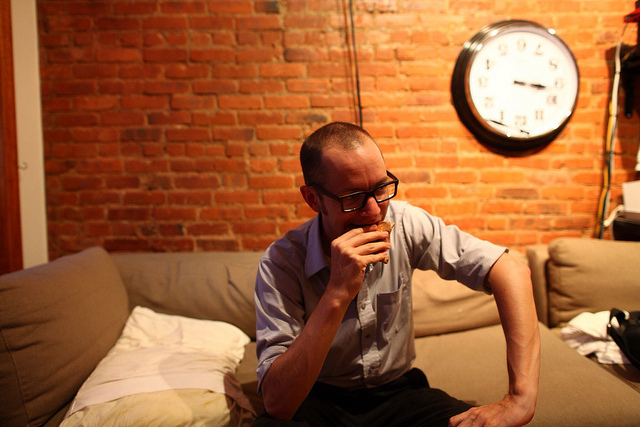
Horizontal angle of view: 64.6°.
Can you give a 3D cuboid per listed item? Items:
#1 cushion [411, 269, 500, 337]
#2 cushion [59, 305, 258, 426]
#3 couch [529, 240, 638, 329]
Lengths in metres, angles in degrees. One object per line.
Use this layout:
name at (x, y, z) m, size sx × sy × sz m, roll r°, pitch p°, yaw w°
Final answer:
cushion at (0.871, 0.633, 3.423) m, size 0.564 × 0.489 × 0.161 m, roll -6°, pitch -8°, yaw -7°
cushion at (-0.860, 0.860, 2.838) m, size 0.709 × 0.207 × 0.664 m, roll 10°, pitch 39°, yaw 4°
couch at (1.751, 0.471, 3.321) m, size 0.616 × 0.479 × 0.202 m, roll -2°, pitch -7°, yaw 0°
